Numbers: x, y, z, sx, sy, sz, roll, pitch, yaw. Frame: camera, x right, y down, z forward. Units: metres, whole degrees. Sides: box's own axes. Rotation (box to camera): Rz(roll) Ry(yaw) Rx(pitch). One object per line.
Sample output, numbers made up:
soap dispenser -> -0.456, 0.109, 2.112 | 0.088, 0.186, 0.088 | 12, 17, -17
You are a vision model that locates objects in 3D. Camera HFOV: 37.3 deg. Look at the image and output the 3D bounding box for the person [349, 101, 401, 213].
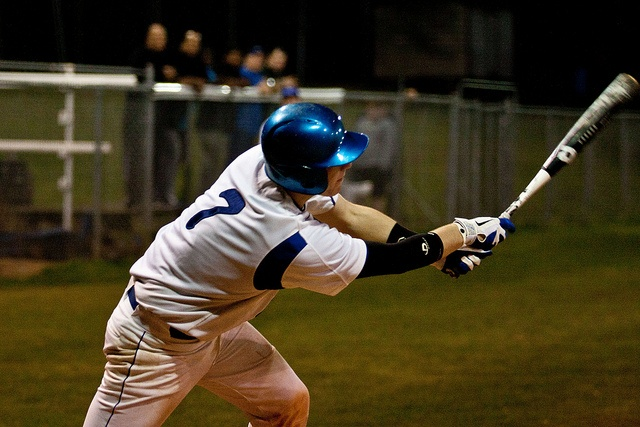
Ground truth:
person -> 0.911, -0.959, 15.791 | 0.985, 1.694, 0.418 | 7, -4, -18
